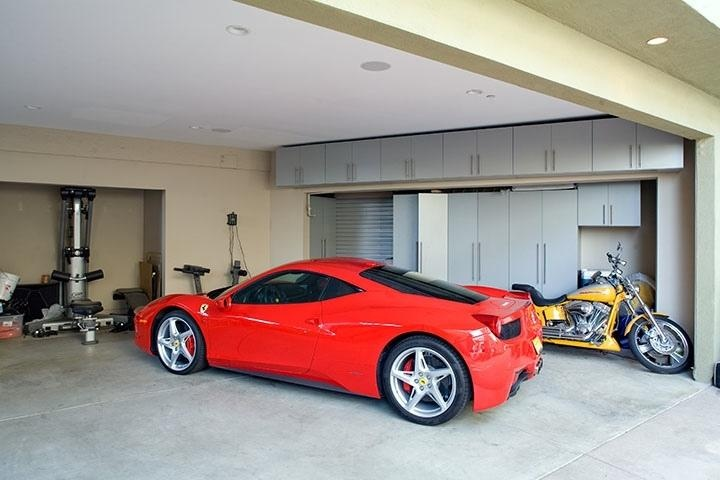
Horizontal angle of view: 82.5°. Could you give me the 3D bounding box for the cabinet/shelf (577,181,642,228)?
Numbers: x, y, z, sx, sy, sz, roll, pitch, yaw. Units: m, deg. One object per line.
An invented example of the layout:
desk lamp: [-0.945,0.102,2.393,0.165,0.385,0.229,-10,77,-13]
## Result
cabinet/shelf: [3.795,-0.546,6.216,0.809,0.578,0.299,0,-1,28]

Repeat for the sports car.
sports car: [-0.220,0.681,4.599,3.528,0.876,1.846,4,2,21]
